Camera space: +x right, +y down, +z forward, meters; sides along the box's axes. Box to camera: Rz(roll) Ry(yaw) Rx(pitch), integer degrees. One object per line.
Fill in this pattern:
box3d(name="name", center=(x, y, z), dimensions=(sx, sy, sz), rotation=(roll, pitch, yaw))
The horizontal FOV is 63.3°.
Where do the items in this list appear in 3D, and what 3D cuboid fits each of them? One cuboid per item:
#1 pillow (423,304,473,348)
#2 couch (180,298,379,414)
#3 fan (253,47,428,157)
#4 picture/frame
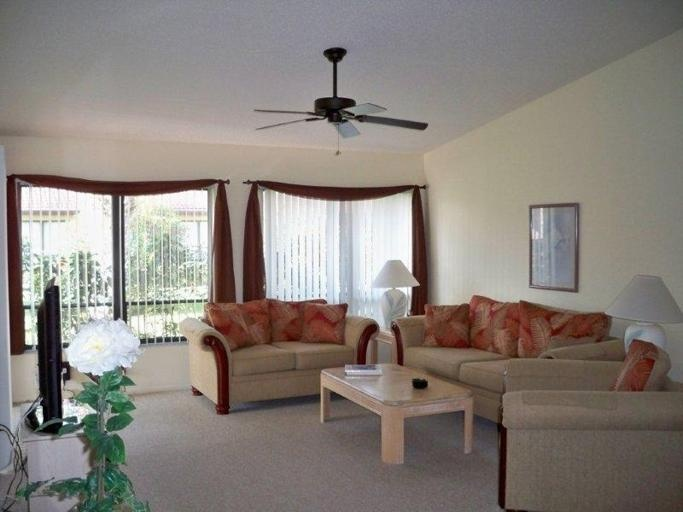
box3d(name="pillow", center=(1.228, 0.816, 6.340), dimensions=(0.428, 0.419, 0.169), rotation=(1, -26, 5))
box3d(name="couch", center=(-0.746, 1.162, 6.335), dimensions=(1.938, 0.906, 0.746), rotation=(-2, 5, -21))
box3d(name="fan", center=(-0.139, -1.476, 4.753), dimensions=(1.423, 0.525, 1.409), rotation=(7, 16, 16))
box3d(name="picture/frame", center=(2.264, -0.104, 5.908), dimensions=(0.119, 0.910, 0.626), rotation=(-2, 5, -21))
